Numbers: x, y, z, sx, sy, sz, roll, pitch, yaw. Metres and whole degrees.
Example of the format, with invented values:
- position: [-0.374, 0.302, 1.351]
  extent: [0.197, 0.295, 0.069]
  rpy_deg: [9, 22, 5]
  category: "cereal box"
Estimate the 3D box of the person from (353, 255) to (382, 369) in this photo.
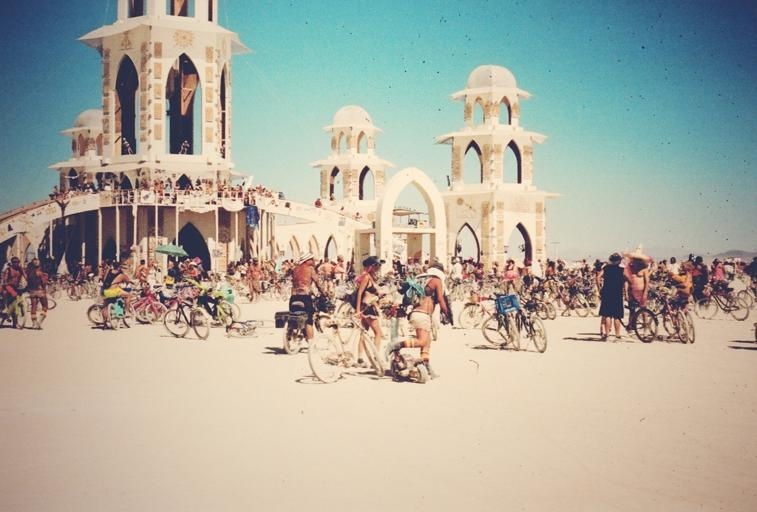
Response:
- position: [-0.222, 1.005, 15.379]
  extent: [0.571, 1.846, 0.874]
  rpy_deg: [1, 11, 10]
  category: "person"

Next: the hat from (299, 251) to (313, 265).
- position: [-1.602, 0.048, 16.540]
  extent: [0.328, 0.267, 0.265]
  rpy_deg: [-5, 12, -18]
  category: "hat"

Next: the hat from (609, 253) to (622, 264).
- position: [5.387, 0.070, 17.097]
  extent: [0.268, 0.266, 0.084]
  rpy_deg: [2, -8, 16]
  category: "hat"

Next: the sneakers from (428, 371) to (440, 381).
- position: [1.133, 2.453, 15.326]
  extent: [0.263, 0.186, 0.097]
  rpy_deg: [-2, 6, -11]
  category: "sneakers"
